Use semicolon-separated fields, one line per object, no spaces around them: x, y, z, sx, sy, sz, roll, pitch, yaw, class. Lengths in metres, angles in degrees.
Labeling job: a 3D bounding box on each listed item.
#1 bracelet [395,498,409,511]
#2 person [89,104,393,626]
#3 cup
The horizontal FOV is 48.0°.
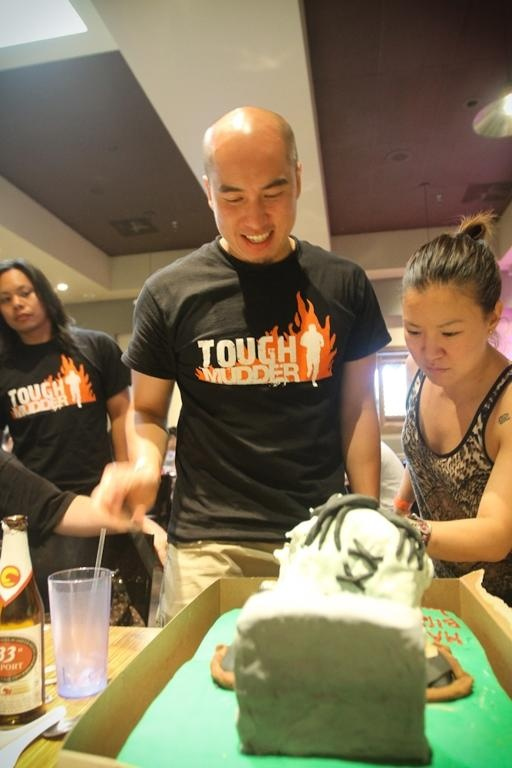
0.455;0.372;1.804;0.038;0.026;0.038;7;-4;9;bracelet
0.008;-0.058;1.265;0.664;0.969;0.447;-2;0;-8;person
-0.241;0.352;0.821;0.099;0.134;0.081;-1;-1;-41;cup
